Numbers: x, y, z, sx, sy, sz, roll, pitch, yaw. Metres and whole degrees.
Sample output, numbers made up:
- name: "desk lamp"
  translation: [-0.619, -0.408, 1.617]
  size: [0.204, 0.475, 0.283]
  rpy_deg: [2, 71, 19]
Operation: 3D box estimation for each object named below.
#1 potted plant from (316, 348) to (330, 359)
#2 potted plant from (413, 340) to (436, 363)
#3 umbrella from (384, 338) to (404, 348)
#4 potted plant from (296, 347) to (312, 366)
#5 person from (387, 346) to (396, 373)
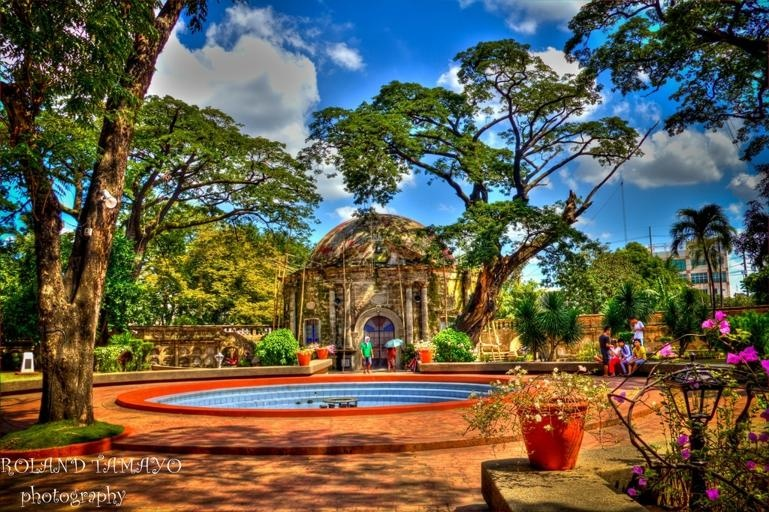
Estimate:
- name: "potted plant"
  translation: [-3.067, 4.821, 27.920]
  size: [0.672, 0.464, 0.674]
  rpy_deg: [-10, -9, 36]
- name: "potted plant"
  translation: [1.780, 4.299, 25.206]
  size: [0.869, 0.781, 0.843]
  rpy_deg: [-2, -16, 6]
- name: "umbrella"
  translation: [0.449, 3.961, 25.465]
  size: [0.958, 0.328, 0.943]
  rpy_deg: [6, -20, -42]
- name: "potted plant"
  translation: [-3.515, 4.472, 24.838]
  size: [0.602, 0.444, 0.600]
  rpy_deg: [0, -15, -4]
- name: "person"
  translation: [0.324, 4.672, 25.685]
  size: [0.251, 1.112, 0.605]
  rpy_deg: [0, -3, -9]
